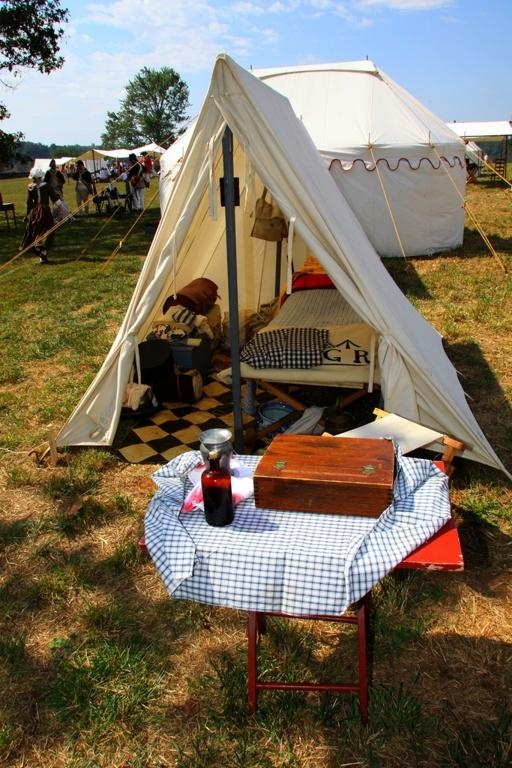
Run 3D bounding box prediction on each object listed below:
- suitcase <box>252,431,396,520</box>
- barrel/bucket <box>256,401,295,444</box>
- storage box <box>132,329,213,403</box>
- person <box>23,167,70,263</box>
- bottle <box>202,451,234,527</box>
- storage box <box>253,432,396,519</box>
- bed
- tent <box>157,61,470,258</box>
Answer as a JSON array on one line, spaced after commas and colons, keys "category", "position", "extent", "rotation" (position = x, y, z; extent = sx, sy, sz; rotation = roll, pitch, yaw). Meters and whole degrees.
[{"category": "suitcase", "position": [0.238, 0.315, 2.102], "extent": [0.370, 0.125, 0.275], "rotation": [3, 22, 11]}, {"category": "barrel/bucket", "position": [0.134, 0.257, 4.325], "extent": [0.249, 0.195, 0.280], "rotation": [-4, 30, -4]}, {"category": "storage box", "position": [-0.699, -0.159, 4.903], "extent": [0.475, 0.545, 0.545], "rotation": [5, 20, 6]}, {"category": "person", "position": [-3.807, -2.950, 10.298], "extent": [0.662, 1.558, 0.455], "rotation": [1, 7, 12]}, {"category": "bottle", "position": [-0.133, 0.364, 1.972], "extent": [0.107, 0.254, 0.095], "rotation": [-13, 18, -40]}, {"category": "storage box", "position": [0.258, 0.325, 2.133], "extent": [0.474, 0.161, 0.373], "rotation": [1, 21, 13]}, {"category": "bed", "position": [0.430, -0.301, 4.753], "extent": [1.479, 1.222, 2.409], "rotation": [2, 19, 0]}, {"category": "tent", "position": [2.157, -3.744, 9.605], "extent": [4.997, 3.154, 5.125], "rotation": [8, 22, 23]}]
